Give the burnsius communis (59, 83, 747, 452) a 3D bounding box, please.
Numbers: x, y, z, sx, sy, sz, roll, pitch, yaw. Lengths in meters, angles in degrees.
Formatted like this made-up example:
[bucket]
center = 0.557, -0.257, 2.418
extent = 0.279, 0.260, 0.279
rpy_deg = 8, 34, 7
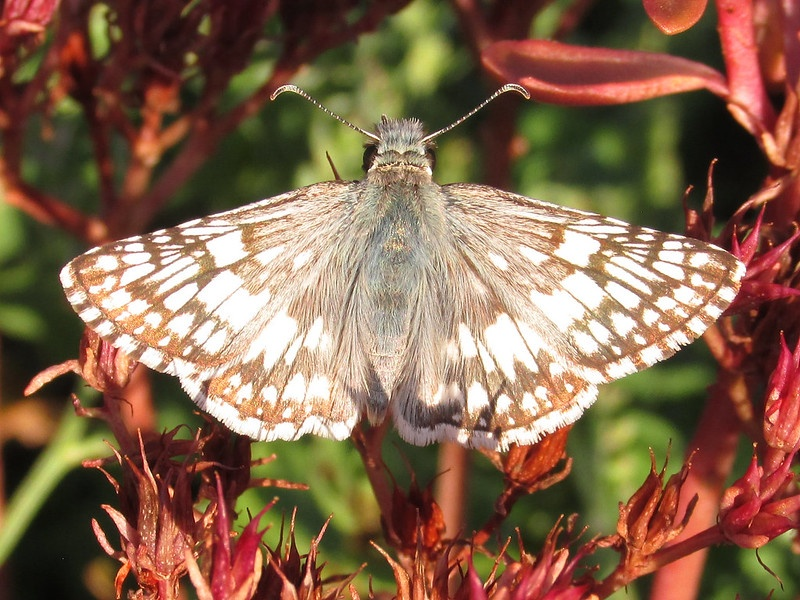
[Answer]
[burnsius communis]
center = 0.040, -0.064, 1.839
extent = 0.296, 0.711, 1.309
rpy_deg = -50, -29, 20
